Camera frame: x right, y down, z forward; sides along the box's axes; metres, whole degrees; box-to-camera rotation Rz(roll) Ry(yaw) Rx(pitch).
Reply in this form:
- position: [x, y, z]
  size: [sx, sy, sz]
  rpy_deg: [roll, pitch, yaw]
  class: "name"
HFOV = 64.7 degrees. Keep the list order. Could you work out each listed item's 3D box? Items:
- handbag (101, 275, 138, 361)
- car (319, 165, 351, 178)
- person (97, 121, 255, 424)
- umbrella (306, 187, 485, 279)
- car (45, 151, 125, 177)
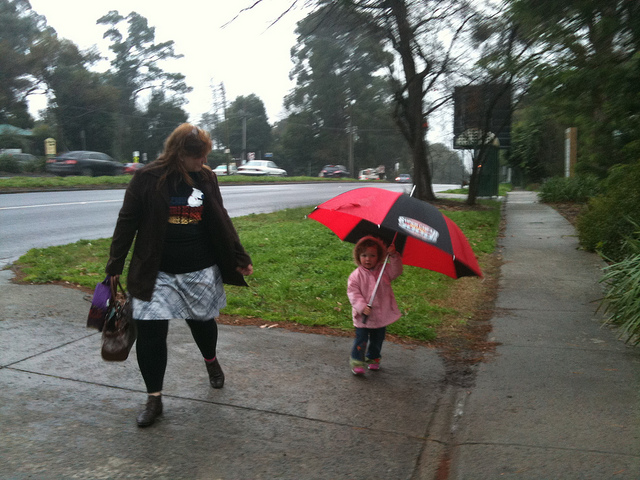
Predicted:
- position: [-1.517, 0.542, 3.950]
  size: [0.294, 0.652, 0.592]
  rpy_deg: [2, 8, -3]
  class: "handbag"
- position: [1.821, -6.733, 50.006]
  size: [1.438, 0.926, 3.006]
  rpy_deg: [6, 16, 29]
  class: "car"
- position: [-1.055, 0.191, 3.885]
  size: [0.974, 2.165, 0.591]
  rpy_deg: [-8, 15, -38]
  class: "person"
- position: [0.749, -0.198, 4.757]
  size: [1.586, 0.531, 1.500]
  rpy_deg: [16, -8, 27]
  class: "umbrella"
- position: [-12.300, -4.020, 26.927]
  size: [1.709, 0.916, 3.608]
  rpy_deg: [6, 10, 33]
  class: "car"
